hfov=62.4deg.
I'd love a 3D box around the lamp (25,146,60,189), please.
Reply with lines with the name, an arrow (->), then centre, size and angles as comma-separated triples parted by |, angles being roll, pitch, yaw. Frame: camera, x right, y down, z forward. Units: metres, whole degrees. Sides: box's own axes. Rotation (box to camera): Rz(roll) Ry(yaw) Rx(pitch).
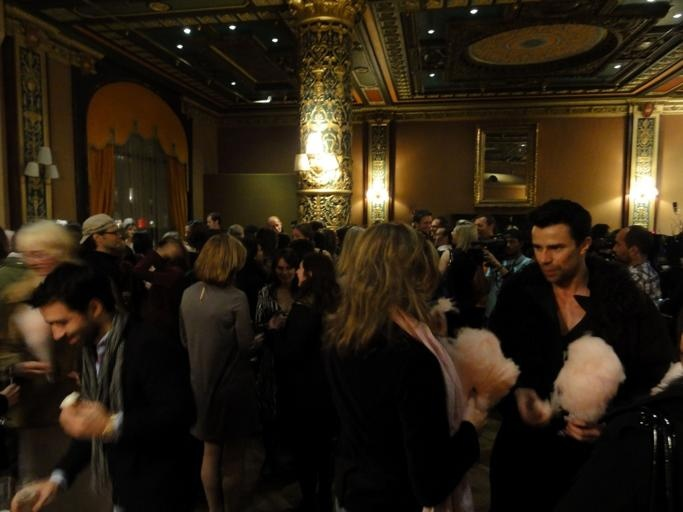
lamp -> -4.133, -1.298, 7.889 | 0.225, 0.430, 0.584 | -8, 15, -36

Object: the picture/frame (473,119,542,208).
picture/frame -> 3.450, -1.870, 11.881 | 1.299, 1.800, 0.110 | 0, 7, 2

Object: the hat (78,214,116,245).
hat -> -1.897, -0.228, 4.377 | 0.264, 0.149, 0.187 | -30, 16, -21
